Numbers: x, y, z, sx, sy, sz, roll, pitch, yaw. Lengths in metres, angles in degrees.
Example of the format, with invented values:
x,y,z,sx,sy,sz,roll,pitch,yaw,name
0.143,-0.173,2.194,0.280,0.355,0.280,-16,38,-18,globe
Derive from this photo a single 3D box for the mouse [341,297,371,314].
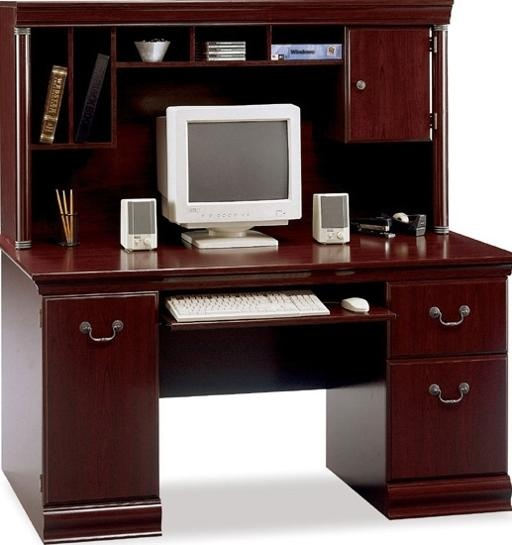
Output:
x,y,z,sx,sy,sz,roll,pitch,yaw,name
0.304,0.100,1.806,0.087,0.049,0.103,0,-5,8,mouse

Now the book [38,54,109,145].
x,y,z,sx,sy,sz,roll,pitch,yaw,name
-0.652,-0.606,2.118,0.235,0.320,0.206,2,-5,-10,book

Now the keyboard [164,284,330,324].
x,y,z,sx,sy,sz,roll,pitch,yaw,name
-0.035,0.097,1.776,0.475,0.115,0.295,2,-5,-13,keyboard

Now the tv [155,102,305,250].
x,y,z,sx,sy,sz,roll,pitch,yaw,name
-0.160,-0.350,2.336,0.671,0.656,0.495,-1,5,-14,tv

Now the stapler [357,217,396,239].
x,y,z,sx,sy,sz,roll,pitch,yaw,name
0.468,-0.180,2.380,0.059,0.077,0.221,-7,10,-34,stapler

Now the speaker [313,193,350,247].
x,y,z,sx,sy,sz,roll,pitch,yaw,name
0.273,-0.196,2.150,0.135,0.215,0.188,-1,1,-8,speaker

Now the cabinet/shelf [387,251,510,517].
x,y,z,sx,sy,sz,roll,pitch,yaw,name
0.641,0.401,1.929,0.492,0.812,0.247,1,-5,-2,cabinet/shelf

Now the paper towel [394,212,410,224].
x,y,z,sx,sy,sz,roll,pitch,yaw,name
0.592,-0.224,2.383,0.042,0.023,0.065,-3,12,-9,paper towel

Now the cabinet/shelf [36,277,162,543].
x,y,z,sx,sy,sz,roll,pitch,yaw,name
-0.432,0.414,1.673,0.331,0.721,0.226,2,-5,-9,cabinet/shelf
